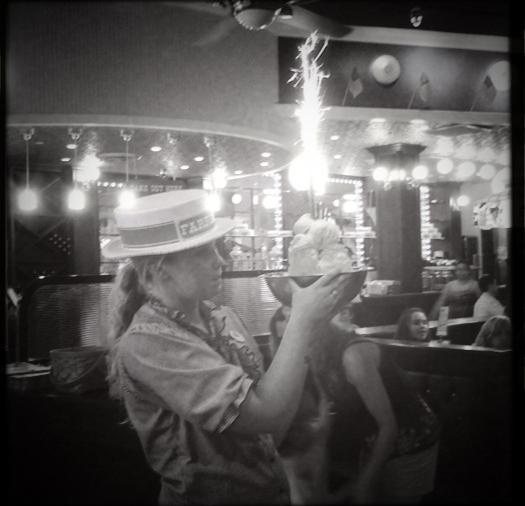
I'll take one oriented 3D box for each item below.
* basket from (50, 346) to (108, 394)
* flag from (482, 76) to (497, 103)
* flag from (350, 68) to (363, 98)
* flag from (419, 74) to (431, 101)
[{"bbox_3d":[-1.006,0.639,3.143,0.279,0.177,0.273,1,-3,-15],"label":"basket"},{"bbox_3d":[1.390,-0.994,3.497,0.081,0.170,0.012,-4,0,-9],"label":"flag"},{"bbox_3d":[0.558,-1.009,3.395,0.095,0.182,0.023,-4,0,-19],"label":"flag"},{"bbox_3d":[0.978,-0.991,3.446,0.077,0.177,0.024,-4,0,-14],"label":"flag"}]
